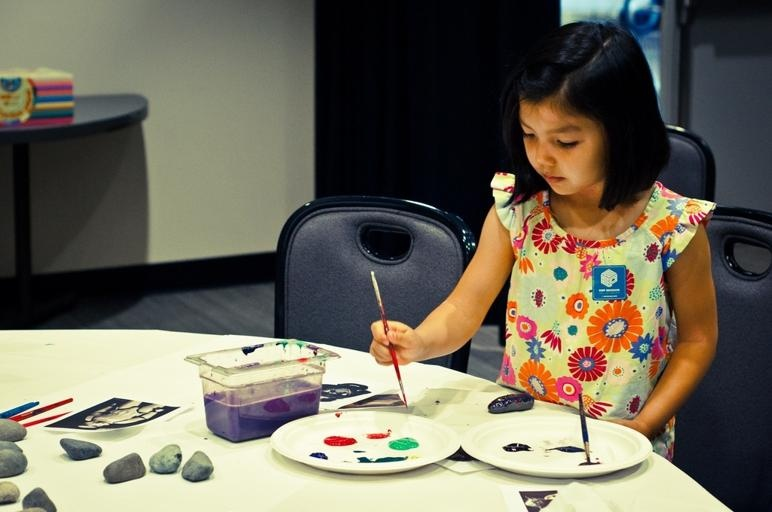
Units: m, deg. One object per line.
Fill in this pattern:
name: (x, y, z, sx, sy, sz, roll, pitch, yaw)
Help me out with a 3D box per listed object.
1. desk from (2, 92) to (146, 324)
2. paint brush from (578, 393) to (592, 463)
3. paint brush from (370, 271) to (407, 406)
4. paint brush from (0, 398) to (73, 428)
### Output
desk: (-1.607, -0.260, 3.562, 0.815, 0.939, 0.790, 17, 24, 36)
paint brush: (0.338, 0.285, 1.196, 0.010, 0.015, 0.152, -33, 15, 30)
paint brush: (0.009, 0.171, 1.496, 0.016, 0.269, 0.015, -9, 18, 10)
paint brush: (-0.627, 0.263, 1.250, 0.032, 0.013, 0.111, 14, 17, 32)
